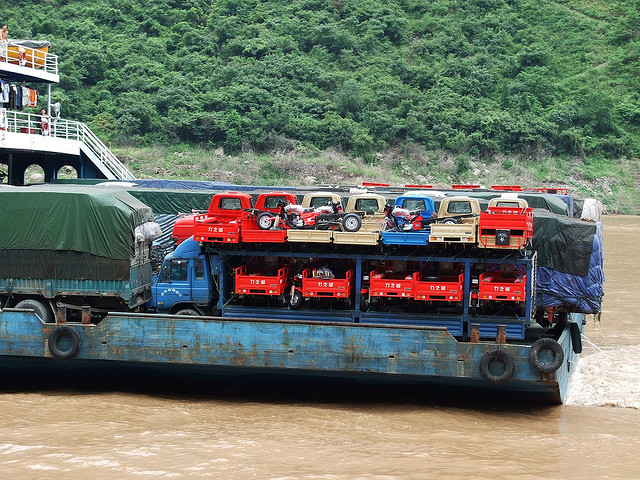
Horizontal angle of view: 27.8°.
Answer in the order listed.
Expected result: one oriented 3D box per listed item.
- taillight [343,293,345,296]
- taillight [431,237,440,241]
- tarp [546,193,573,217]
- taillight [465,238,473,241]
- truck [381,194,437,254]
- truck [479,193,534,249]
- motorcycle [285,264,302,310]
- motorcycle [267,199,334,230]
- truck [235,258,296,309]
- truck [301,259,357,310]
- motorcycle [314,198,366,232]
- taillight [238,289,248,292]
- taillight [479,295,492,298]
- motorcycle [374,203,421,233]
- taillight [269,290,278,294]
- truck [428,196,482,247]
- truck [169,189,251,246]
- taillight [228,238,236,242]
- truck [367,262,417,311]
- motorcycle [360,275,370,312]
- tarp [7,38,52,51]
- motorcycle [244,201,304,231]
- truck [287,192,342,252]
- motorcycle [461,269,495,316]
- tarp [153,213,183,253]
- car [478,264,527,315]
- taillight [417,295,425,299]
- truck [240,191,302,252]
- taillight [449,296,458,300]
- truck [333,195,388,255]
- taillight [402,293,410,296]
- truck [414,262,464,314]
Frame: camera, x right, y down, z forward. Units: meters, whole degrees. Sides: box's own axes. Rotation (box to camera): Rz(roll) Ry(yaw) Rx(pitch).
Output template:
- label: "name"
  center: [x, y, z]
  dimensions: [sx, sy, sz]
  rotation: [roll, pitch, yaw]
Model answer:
- label: "taillight"
  center: [1.454, 3.337, 79.171]
  dimensions: [0.076, 0.154, 0.028]
  rotation: [0, 3, -6]
- label: "taillight"
  center: [6.970, -0.067, 78.407]
  dimensions: [0.224, 0.102, 0.308]
  rotation: [2, 5, 10]
- label: "tarp"
  center: [16.164, -2.197, 86.707]
  dimensions: [1.615, 1.350, 1.616]
  rotation: [2, 11, 4]
- label: "taillight"
  center: [8.957, -0.035, 78.237]
  dimensions: [0.446, 0.158, 0.074]
  rotation: [0, 3, -5]
- label: "truck"
  center: [5.712, -1.490, 81.477]
  dimensions: [2.140, 3.055, 5.661]
  rotation: [-18, 5, -24]
- label: "truck"
  center: [11.727, -1.100, 80.675]
  dimensions: [2.841, 3.004, 5.522]
  rotation: [2, 2, 16]
- label: "motorcycle"
  center: [-1.529, 2.960, 80.199]
  dimensions: [0.822, 2.565, 1.276]
  rotation: [1, 3, -4]
- label: "motorcycle"
  center: [-1.274, -1.374, 80.137]
  dimensions: [3.696, 1.780, 1.657]
  rotation: [1, -13, 6]
- label: "truck"
  center: [-3.185, 2.375, 81.275]
  dimensions: [3.109, 2.585, 4.515]
  rotation: [2, 10, 12]
- label: "truck"
  center: [0.588, 2.805, 81.625]
  dimensions: [2.938, 2.842, 5.066]
  rotation: [1, 0, 3]
- label: "motorcycle"
  center: [1.316, -1.496, 79.684]
  dimensions: [3.092, 1.515, 1.684]
  rotation: [-2, 3, 4]
- label: "taillight"
  center: [-4.716, 3.123, 79.576]
  dimensions: [0.582, 0.165, 0.025]
  rotation: [1, 3, 5]
- label: "taillight"
  center: [10.013, 3.427, 78.557]
  dimensions: [0.676, 0.163, 0.046]
  rotation: [1, 3, 8]
- label: "motorcycle"
  center: [4.719, -1.251, 79.631]
  dimensions: [2.412, 1.471, 1.541]
  rotation: [0, 2, 5]
- label: "taillight"
  center: [-2.820, 3.195, 79.476]
  dimensions: [0.459, 0.233, 0.029]
  rotation: [1, 3, -1]
- label: "truck"
  center: [8.642, -1.262, 80.021]
  dimensions: [2.885, 2.858, 5.089]
  rotation: [2, 12, 21]
- label: "truck"
  center: [-5.751, -1.460, 79.794]
  dimensions: [2.940, 2.476, 5.075]
  rotation: [2, 11, 9]
- label: "taillight"
  center: [-5.362, -0.016, 79.228]
  dimensions: [0.461, 0.200, 0.040]
  rotation: [1, 3, 10]
- label: "truck"
  center: [4.557, 3.169, 81.956]
  dimensions: [3.708, 2.867, 6.002]
  rotation: [5, -4, 3]
- label: "motorcycle"
  center: [2.783, 3.287, 80.305]
  dimensions: [0.572, 2.229, 1.101]
  rotation: [1, 3, 3]
- label: "tarp"
  center: [-22.899, -15.732, 102.936]
  dimensions: [3.506, 0.932, 2.041]
  rotation: [1, 3, -24]
- label: "motorcycle"
  center: [-2.643, -1.508, 79.897]
  dimensions: [2.868, 1.363, 1.661]
  rotation: [-2, 3, -1]
- label: "truck"
  center: [0.013, -1.401, 80.771]
  dimensions: [2.685, 3.395, 3.641]
  rotation: [16, 8, 16]
- label: "motorcycle"
  center: [9.565, 3.238, 79.431]
  dimensions: [0.832, 2.779, 1.258]
  rotation: [1, 3, 8]
- label: "tarp"
  center: [-9.974, -0.337, 85.498]
  dimensions: [2.919, 2.885, 0.221]
  rotation: [1, -27, -6]
- label: "car"
  center: [11.449, 2.842, 80.770]
  dimensions: [2.943, 3.110, 5.457]
  rotation: [2, 2, 15]
- label: "taillight"
  center: [6.129, 3.472, 78.841]
  dimensions: [0.418, 0.236, 0.076]
  rotation: [1, 3, 6]
- label: "truck"
  center: [-3.060, -1.559, 80.896]
  dimensions: [4.037, 3.180, 4.146]
  rotation: [-15, 0, 21]
- label: "taillight"
  center: [8.082, 3.525, 78.681]
  dimensions: [0.485, 0.199, 0.084]
  rotation: [1, 3, 12]
- label: "truck"
  center: [2.008, -1.159, 79.562]
  dimensions: [3.869, 3.596, 2.796]
  rotation: [1, -2, 6]
- label: "taillight"
  center: [5.221, 3.325, 78.892]
  dimensions: [0.419, 0.163, 0.022]
  rotation: [1, 3, 8]
- label: "truck"
  center: [7.599, 2.708, 81.529]
  dimensions: [2.871, 3.129, 5.253]
  rotation: [-1, -8, 4]
